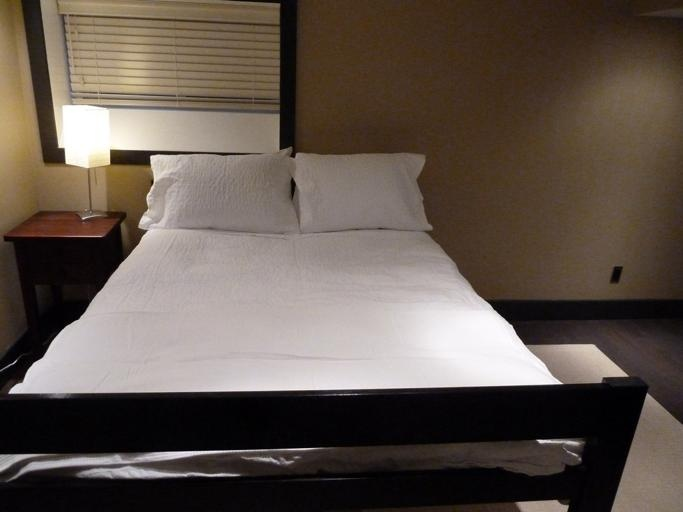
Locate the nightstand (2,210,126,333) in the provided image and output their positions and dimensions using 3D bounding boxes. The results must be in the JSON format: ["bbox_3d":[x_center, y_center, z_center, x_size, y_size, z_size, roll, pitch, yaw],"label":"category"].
[{"bbox_3d":[-1.467,-0.019,3.309,0.595,0.753,0.614,0,30,-6],"label":"nightstand"}]
